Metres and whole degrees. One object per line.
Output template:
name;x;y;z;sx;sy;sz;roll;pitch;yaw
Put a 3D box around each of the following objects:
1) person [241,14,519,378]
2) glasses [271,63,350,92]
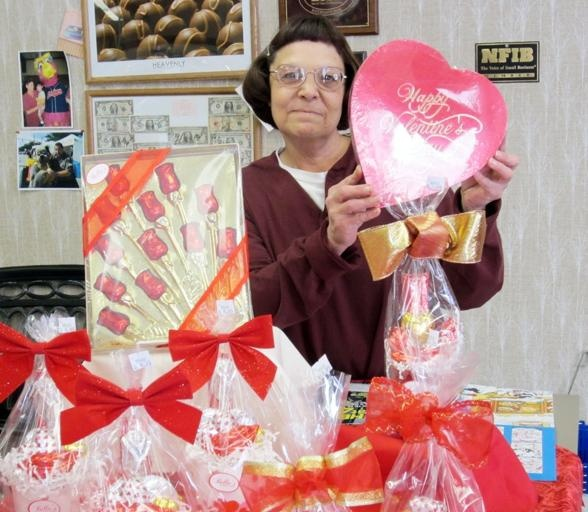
person;0.130;-0.018;1.414;0.533;0.978;0.484;-7;23;5
glasses;0.031;-0.376;1.302;0.134;0.063;0.026;-1;2;10
